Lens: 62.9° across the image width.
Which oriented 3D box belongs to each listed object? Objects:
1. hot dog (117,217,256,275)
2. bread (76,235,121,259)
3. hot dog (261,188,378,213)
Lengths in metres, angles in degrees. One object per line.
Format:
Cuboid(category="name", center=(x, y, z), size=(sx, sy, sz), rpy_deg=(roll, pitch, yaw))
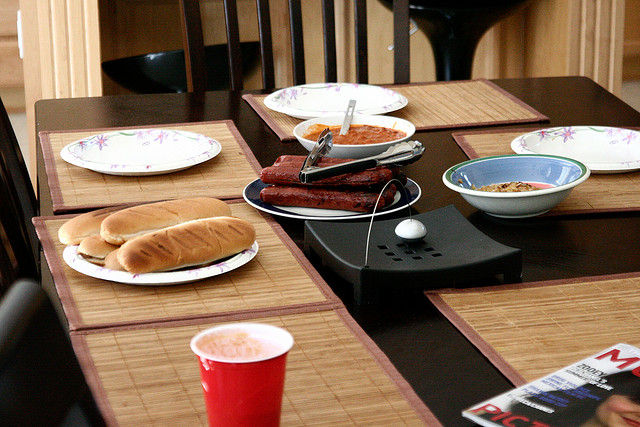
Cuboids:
Cuboid(category="hot dog", center=(-0.176, 0.035, 0.696), size=(0.167, 0.040, 0.067), rpy_deg=(-7, 33, -31))
Cuboid(category="bread", center=(-0.295, 0.044, 0.690), size=(0.042, 0.012, 0.028), rpy_deg=(-10, 32, -43))
Cuboid(category="hot dog", center=(0.000, -0.022, 0.840), size=(0.228, 0.031, 0.057), rpy_deg=(3, -10, 7))
